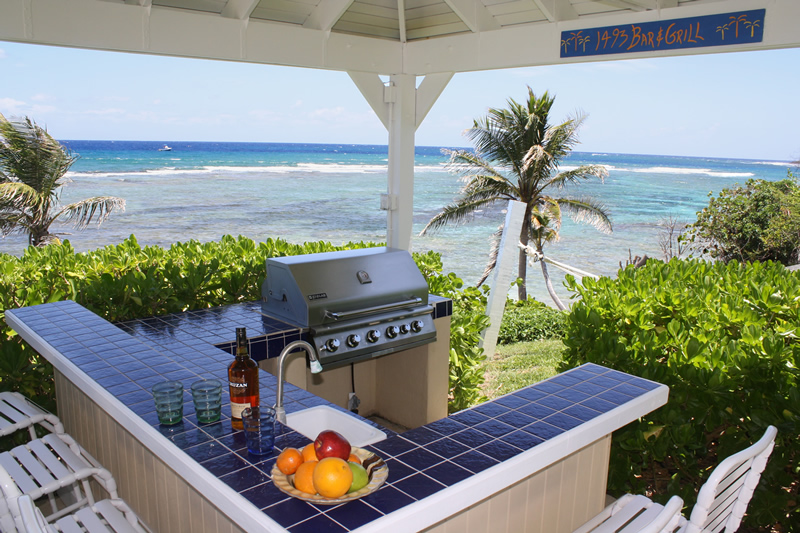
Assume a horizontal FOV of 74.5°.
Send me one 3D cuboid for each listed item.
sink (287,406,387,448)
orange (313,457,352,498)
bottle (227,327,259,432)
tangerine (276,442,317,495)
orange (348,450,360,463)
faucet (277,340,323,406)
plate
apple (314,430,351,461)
[{"bbox_3d":[-0.356,0.747,2.480,0.219,0.119,0.293,-8,17,-39],"label":"sink"},{"bbox_3d":[-0.235,0.722,1.822,0.136,0.159,0.138,2,-1,-8],"label":"orange"},{"bbox_3d":[-0.666,0.453,2.192,0.137,0.393,0.160,-13,20,-41],"label":"bottle"},{"bbox_3d":[-0.363,0.703,1.853,0.137,0.079,0.142,2,5,-6],"label":"tangerine"},{"bbox_3d":[-0.166,0.685,1.906,0.035,0.020,0.034,2,0,-29],"label":"orange"},{"bbox_3d":[-0.444,0.518,2.277,0.218,0.076,0.451,-1,42,-8],"label":"faucet"},{"bbox_3d":[-0.191,0.756,1.831,0.225,0.038,0.224,-11,19,-33],"label":"plate"},{"bbox_3d":[-0.248,0.642,1.847,0.127,0.096,0.109,3,16,8],"label":"apple"}]
